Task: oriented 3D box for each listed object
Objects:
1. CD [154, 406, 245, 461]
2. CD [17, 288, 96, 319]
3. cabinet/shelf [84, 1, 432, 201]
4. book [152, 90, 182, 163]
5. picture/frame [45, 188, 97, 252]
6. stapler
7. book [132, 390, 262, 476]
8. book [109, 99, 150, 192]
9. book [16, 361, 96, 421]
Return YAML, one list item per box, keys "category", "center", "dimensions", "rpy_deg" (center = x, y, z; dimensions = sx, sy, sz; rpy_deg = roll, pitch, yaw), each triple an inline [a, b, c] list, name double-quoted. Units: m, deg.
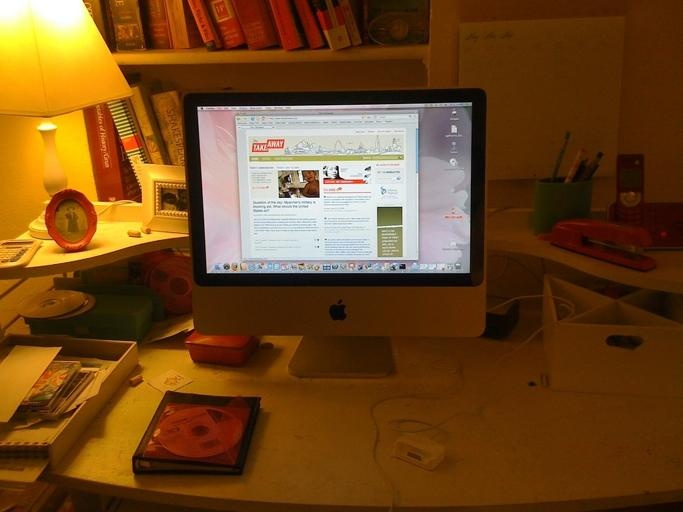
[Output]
- category: "CD"
  center: [-0.284, 0.358, 1.107]
  dimensions: [0.165, 0.024, 0.193]
  rpy_deg: [1, 17, 1]
- category: "CD"
  center: [-0.732, 0.126, 1.436]
  dimensions: [0.130, 0.047, 0.143]
  rpy_deg: [7, 17, 25]
- category: "cabinet/shelf"
  center: [-0.197, -0.390, 1.358]
  dimensions: [0.664, 0.449, 0.182]
  rpy_deg: [0, 14, 6]
- category: "book"
  center: [-0.439, -0.359, 1.565]
  dimensions: [0.064, 0.211, 0.139]
  rpy_deg: [-23, 36, -38]
- category: "picture/frame"
  center: [-0.676, -0.083, 1.378]
  dimensions: [0.144, 0.174, 0.022]
  rpy_deg: [-23, 9, -41]
- category: "stapler"
  center: [0.601, -0.041, 1.347]
  dimensions: [0.082, 0.084, 0.279]
  rpy_deg: [-25, 32, -30]
- category: "book"
  center: [-0.287, 0.358, 1.132]
  dimensions: [0.210, 0.074, 0.195]
  rpy_deg: [-3, 19, 5]
- category: "book"
  center: [-0.594, -0.339, 1.551]
  dimensions: [0.079, 0.291, 0.216]
  rpy_deg: [-17, 29, -18]
- category: "book"
  center: [-0.608, 0.263, 1.164]
  dimensions: [0.103, 0.022, 0.099]
  rpy_deg: [0, 34, 12]
